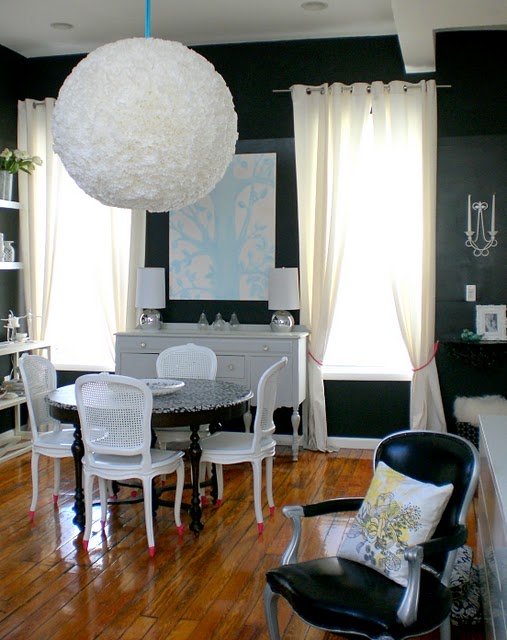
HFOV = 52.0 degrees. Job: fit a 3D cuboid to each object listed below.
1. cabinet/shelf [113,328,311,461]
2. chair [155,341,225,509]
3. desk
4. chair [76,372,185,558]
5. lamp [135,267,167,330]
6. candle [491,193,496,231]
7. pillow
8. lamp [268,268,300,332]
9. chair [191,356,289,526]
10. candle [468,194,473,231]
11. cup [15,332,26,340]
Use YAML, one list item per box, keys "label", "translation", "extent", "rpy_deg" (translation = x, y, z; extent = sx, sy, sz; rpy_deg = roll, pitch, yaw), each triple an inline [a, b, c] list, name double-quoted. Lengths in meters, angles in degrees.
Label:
- label: "cabinet/shelf"
  translation: [-0.381, 0.647, 4.732]
  extent: [1.629, 1.311, 0.566]
  rpy_deg: [0, -2, 9]
- label: "chair"
  translation: [-0.524, 0.601, 3.812]
  extent: [0.419, 0.862, 0.571]
  rpy_deg: [4, 6, -2]
- label: "desk"
  translation: [-0.565, 0.572, 3.062]
  extent: [0.933, 0.700, 1.000]
  rpy_deg: [0, 4, 16]
- label: "chair"
  translation: [-0.675, 0.726, 2.830]
  extent: [0.582, 1.005, 0.585]
  rpy_deg: [-3, 6, -34]
- label: "lamp"
  translation: [-0.971, -0.200, 4.901]
  extent: [0.288, 0.571, 0.407]
  rpy_deg: [0, -1, -13]
- label: "candle"
  translation: [2.041, -0.900, 4.397]
  extent: [0.037, 0.334, 0.043]
  rpy_deg: [0, -1, 22]
- label: "pillow"
  translation: [0.462, 0.639, 1.605]
  extent: [0.094, 0.371, 0.372]
  rpy_deg: [38, -32, -14]
- label: "lamp"
  translation: [0.273, -0.178, 4.602]
  extent: [0.286, 0.551, 0.381]
  rpy_deg: [0, -1, 2]
- label: "chair"
  translation: [-0.071, 0.735, 3.150]
  extent: [0.474, 1.018, 0.488]
  rpy_deg: [3, 2, 17]
- label: "candle"
  translation: [1.859, -0.902, 4.445]
  extent: [0.039, 0.328, 0.022]
  rpy_deg: [0, -1, 12]
- label: "cup"
  translation: [-2.169, 0.144, 4.829]
  extent: [0.064, 0.053, 0.068]
  rpy_deg: [1, 6, 0]
